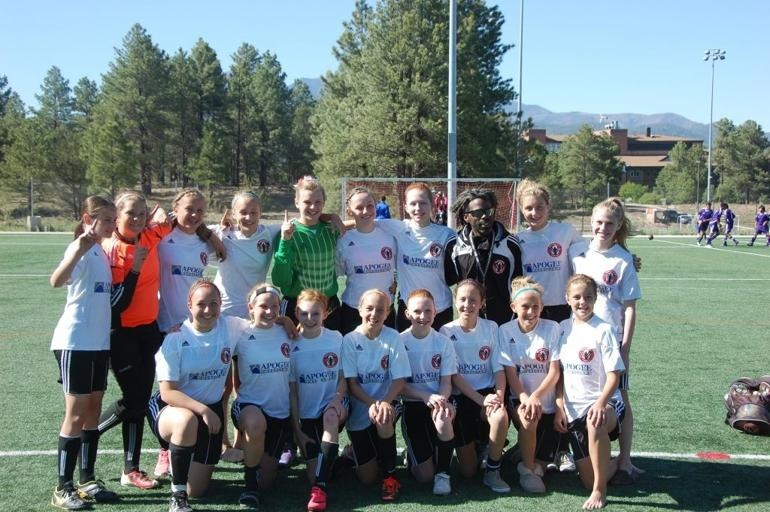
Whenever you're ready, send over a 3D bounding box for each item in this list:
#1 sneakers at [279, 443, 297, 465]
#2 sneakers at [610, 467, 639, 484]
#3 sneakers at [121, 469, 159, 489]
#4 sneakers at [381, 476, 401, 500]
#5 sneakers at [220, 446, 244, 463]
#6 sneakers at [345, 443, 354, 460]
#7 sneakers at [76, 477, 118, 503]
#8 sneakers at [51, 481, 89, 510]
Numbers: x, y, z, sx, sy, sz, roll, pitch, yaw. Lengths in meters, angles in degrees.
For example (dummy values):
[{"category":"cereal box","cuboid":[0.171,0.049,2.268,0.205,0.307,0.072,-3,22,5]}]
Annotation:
[{"category":"sneakers","cuboid":[-1.226,2.499,10.457,0.155,0.221,0.262,2,2,8]},{"category":"sneakers","cuboid":[2.881,2.662,10.045,0.343,0.159,0.227,2,2,15]},{"category":"sneakers","cuboid":[-2.925,2.659,10.018,0.451,0.204,0.197,3,2,1]},{"category":"sneakers","cuboid":[0.058,2.725,9.842,0.198,0.267,0.219,2,2,0]},{"category":"sneakers","cuboid":[-1.918,2.500,10.452,0.257,0.086,0.147,0,-10,20]},{"category":"sneakers","cuboid":[-0.456,2.419,10.297,0.142,0.200,0.071,-5,-14,27]},{"category":"sneakers","cuboid":[-3.380,2.759,9.771,0.431,0.193,0.230,7,12,-3]},{"category":"sneakers","cuboid":[-3.683,2.783,9.703,0.441,0.212,0.234,3,-2,28]}]
